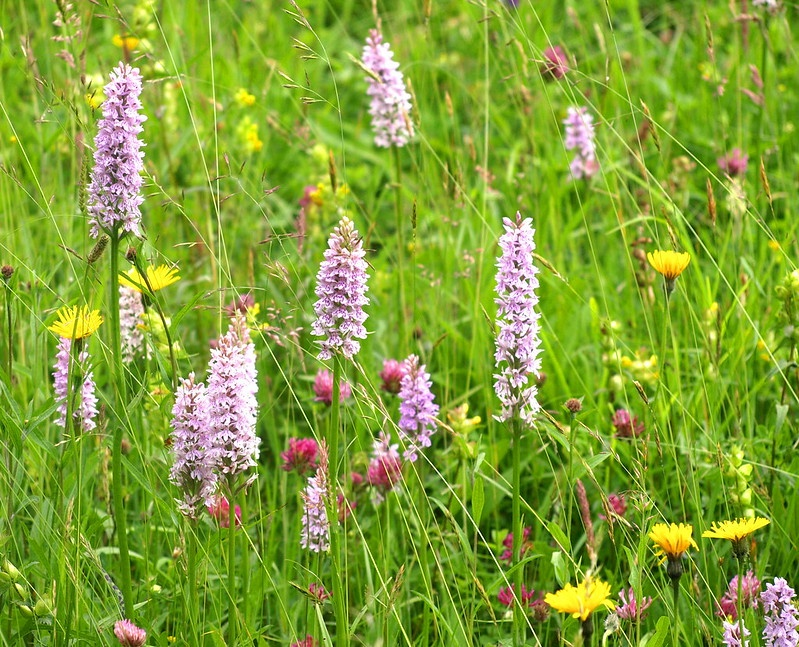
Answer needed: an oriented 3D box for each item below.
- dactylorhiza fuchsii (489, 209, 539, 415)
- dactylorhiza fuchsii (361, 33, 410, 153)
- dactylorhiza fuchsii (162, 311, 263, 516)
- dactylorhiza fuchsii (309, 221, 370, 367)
[{"bbox_3d":[0.431,-0.012,3.593,0.186,0.776,0.374,-5,21,9],"label":"dactylorhiza fuchsii"},{"bbox_3d":[-0.050,-1.056,4.462,0.202,0.600,0.386,-8,22,2],"label":"dactylorhiza fuchsii"},{"bbox_3d":[-0.668,0.349,3.497,0.384,0.692,0.279,-15,21,-13],"label":"dactylorhiza fuchsii"},{"bbox_3d":[-0.214,-0.102,3.475,0.231,0.515,0.248,-10,21,-3],"label":"dactylorhiza fuchsii"}]
